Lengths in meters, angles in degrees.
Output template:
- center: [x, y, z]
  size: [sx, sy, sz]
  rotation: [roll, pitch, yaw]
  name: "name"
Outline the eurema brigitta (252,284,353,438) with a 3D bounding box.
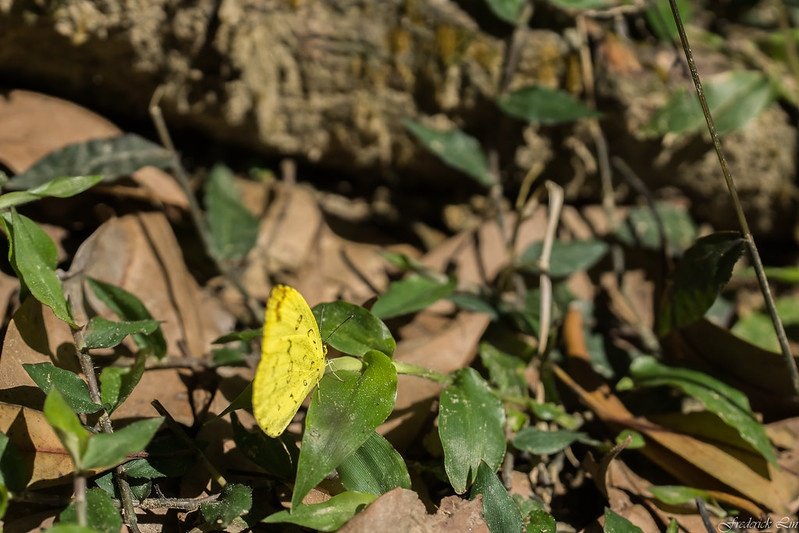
- center: [-0.220, 0.181, 1.604]
  size: [0.178, 0.258, 0.246]
  rotation: [24, -9, -20]
  name: "eurema brigitta"
